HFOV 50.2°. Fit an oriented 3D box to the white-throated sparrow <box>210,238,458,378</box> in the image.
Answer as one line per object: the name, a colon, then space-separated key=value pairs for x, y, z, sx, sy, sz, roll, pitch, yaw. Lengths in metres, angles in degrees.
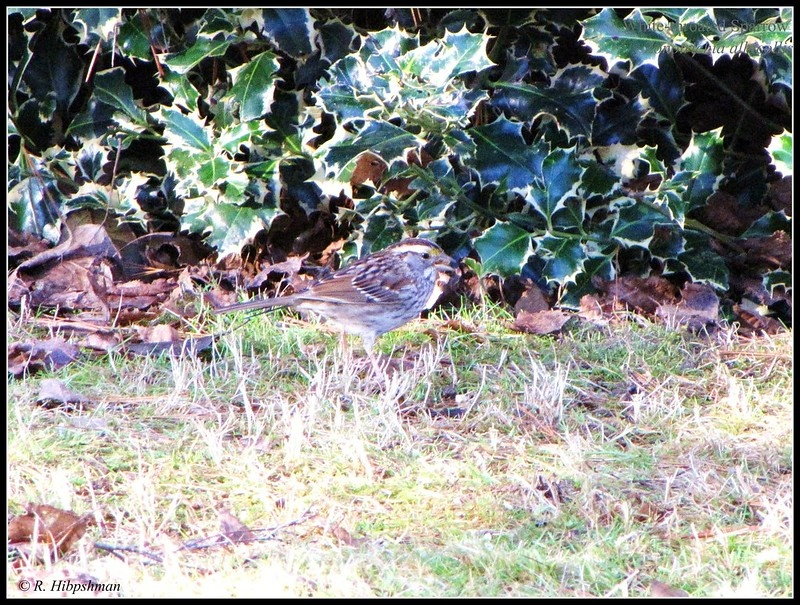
white-throated sparrow: x=-0.182 y=-0.104 z=5.323 sx=1.865 sy=0.892 sz=0.595 roll=4 pitch=-3 yaw=-22
